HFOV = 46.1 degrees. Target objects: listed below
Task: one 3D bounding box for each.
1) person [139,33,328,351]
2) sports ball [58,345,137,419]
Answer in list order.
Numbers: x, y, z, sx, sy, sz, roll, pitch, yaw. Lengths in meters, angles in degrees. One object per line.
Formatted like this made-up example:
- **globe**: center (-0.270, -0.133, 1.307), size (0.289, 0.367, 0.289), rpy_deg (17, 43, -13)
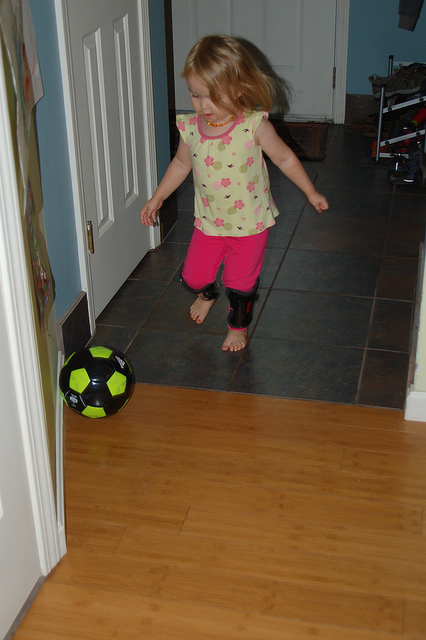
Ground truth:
- **person**: center (0.060, -0.431, 1.884), size (0.452, 1.119, 0.597), rpy_deg (-25, 37, -37)
- **sports ball**: center (-0.350, 0.180, 1.663), size (0.252, 0.227, 0.227), rpy_deg (-20, 12, -3)
